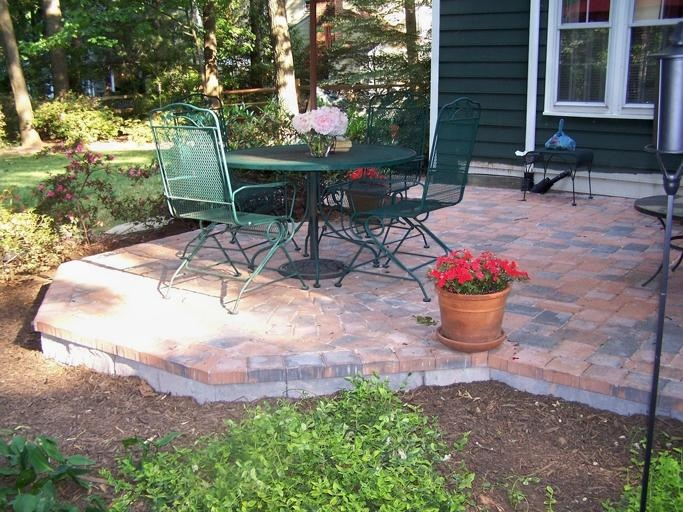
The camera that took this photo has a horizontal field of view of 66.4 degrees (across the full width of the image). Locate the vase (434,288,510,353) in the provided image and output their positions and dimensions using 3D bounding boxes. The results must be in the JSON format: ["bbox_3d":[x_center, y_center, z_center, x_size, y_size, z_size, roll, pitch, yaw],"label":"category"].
[{"bbox_3d":[0.713,0.360,2.962,0.445,0.258,0.429,0,-2,40],"label":"vase"}]

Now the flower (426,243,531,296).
[{"bbox_3d":[0.768,0.086,2.880,0.417,0.144,0.353,10,17,41],"label":"flower"}]

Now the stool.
[{"bbox_3d":[2.704,-1.048,6.663,0.984,0.631,0.843,7,19,27],"label":"stool"}]
